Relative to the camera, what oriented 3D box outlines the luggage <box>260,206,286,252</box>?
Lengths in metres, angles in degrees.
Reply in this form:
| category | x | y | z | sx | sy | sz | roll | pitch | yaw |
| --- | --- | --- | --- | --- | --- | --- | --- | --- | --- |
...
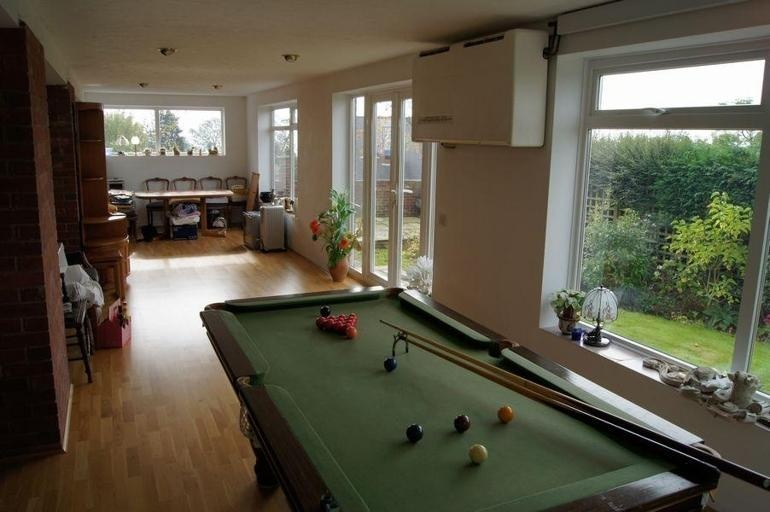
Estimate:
| category | x | y | z | sx | sy | sz | roll | pitch | yaw |
| --- | --- | --- | --- | --- | --- | --- | --- | --- | --- |
| luggage | -2.132 | -0.520 | 9.624 | 0.427 | 0.846 | 0.210 | -3 | 11 | -19 |

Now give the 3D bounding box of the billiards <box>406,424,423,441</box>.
| category | x | y | z | sx | sy | sz | roll | pitch | yaw |
| --- | --- | --- | --- | --- | --- | --- | --- | --- | --- |
| billiards | 0.161 | 0.898 | 2.592 | 0.105 | 0.081 | 0.069 | -4 | 11 | -23 |

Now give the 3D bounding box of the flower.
| category | x | y | z | sx | sy | sz | roll | pitch | yaw |
| --- | --- | --- | --- | --- | --- | --- | --- | --- | --- |
| flower | -0.552 | -0.409 | 7.873 | 1.122 | 1.640 | 1.075 | 4 | 1 | -10 |

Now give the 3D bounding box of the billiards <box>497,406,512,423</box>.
| category | x | y | z | sx | sy | sz | roll | pitch | yaw |
| --- | --- | --- | --- | --- | --- | --- | --- | --- | --- |
| billiards | 0.640 | 0.851 | 2.702 | 0.079 | 0.074 | 0.078 | 2 | 2 | 10 |

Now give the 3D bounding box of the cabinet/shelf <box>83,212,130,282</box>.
| category | x | y | z | sx | sy | sz | roll | pitch | yaw |
| --- | --- | --- | --- | --- | --- | --- | --- | --- | --- |
| cabinet/shelf | -3.699 | -0.110 | 6.739 | 0.536 | 0.834 | 0.768 | -3 | 17 | -17 |

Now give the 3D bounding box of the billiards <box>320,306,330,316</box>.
| category | x | y | z | sx | sy | sz | roll | pitch | yaw |
| --- | --- | --- | --- | --- | --- | --- | --- | --- | --- |
| billiards | -0.454 | 0.411 | 3.823 | 0.070 | 0.079 | 0.069 | -5 | 10 | -36 |

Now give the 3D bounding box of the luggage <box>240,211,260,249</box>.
| category | x | y | z | sx | sy | sz | roll | pitch | yaw |
| --- | --- | --- | --- | --- | --- | --- | --- | --- | --- |
| luggage | -2.490 | -0.514 | 9.989 | 0.472 | 0.691 | 0.524 | -4 | 11 | -37 |

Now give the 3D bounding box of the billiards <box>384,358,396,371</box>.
| category | x | y | z | sx | sy | sz | roll | pitch | yaw |
| --- | --- | --- | --- | --- | --- | --- | --- | --- | --- |
| billiards | 0.034 | 0.670 | 3.150 | 0.073 | 0.083 | 0.072 | 3 | 4 | 4 |

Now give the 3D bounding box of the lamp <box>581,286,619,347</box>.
| category | x | y | z | sx | sy | sz | roll | pitch | yaw |
| --- | --- | --- | --- | --- | --- | --- | --- | --- | --- |
| lamp | 1.709 | 0.484 | 4.180 | 0.297 | 0.465 | 0.318 | 7 | 25 | 20 |

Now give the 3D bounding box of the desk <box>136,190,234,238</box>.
| category | x | y | z | sx | sy | sz | roll | pitch | yaw |
| --- | --- | --- | --- | --- | --- | --- | --- | --- | --- |
| desk | -4.334 | -0.915 | 10.966 | 1.783 | 0.931 | 0.996 | -4 | 11 | -24 |

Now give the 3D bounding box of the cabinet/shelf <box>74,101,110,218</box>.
| category | x | y | z | sx | sy | sz | roll | pitch | yaw |
| --- | --- | --- | --- | --- | --- | --- | --- | --- | --- |
| cabinet/shelf | -3.919 | -1.277 | 6.785 | 0.341 | 1.511 | 0.246 | -5 | 12 | -30 |

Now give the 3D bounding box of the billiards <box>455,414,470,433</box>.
| category | x | y | z | sx | sy | sz | roll | pitch | yaw |
| --- | --- | --- | --- | --- | --- | --- | --- | --- | --- |
| billiards | 0.400 | 0.874 | 2.633 | 0.070 | 0.068 | 0.087 | 2 | 1 | 13 |

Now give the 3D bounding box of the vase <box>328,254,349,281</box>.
| category | x | y | z | sx | sy | sz | roll | pitch | yaw |
| --- | --- | --- | --- | --- | --- | --- | --- | --- | --- |
| vase | -0.683 | 0.179 | 7.796 | 0.207 | 0.399 | 0.385 | 9 | 13 | 39 |

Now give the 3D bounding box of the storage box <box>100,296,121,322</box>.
| category | x | y | z | sx | sy | sz | roll | pitch | yaw |
| --- | --- | --- | --- | --- | --- | --- | --- | --- | --- |
| storage box | -2.979 | 0.589 | 5.487 | 0.127 | 0.201 | 0.204 | 8 | -31 | -15 |

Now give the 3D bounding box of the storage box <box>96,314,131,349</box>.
| category | x | y | z | sx | sy | sz | roll | pitch | yaw |
| --- | --- | --- | --- | --- | --- | --- | --- | --- | --- |
| storage box | -2.921 | 0.797 | 5.545 | 0.276 | 0.361 | 0.505 | 0 | 7 | -10 |
